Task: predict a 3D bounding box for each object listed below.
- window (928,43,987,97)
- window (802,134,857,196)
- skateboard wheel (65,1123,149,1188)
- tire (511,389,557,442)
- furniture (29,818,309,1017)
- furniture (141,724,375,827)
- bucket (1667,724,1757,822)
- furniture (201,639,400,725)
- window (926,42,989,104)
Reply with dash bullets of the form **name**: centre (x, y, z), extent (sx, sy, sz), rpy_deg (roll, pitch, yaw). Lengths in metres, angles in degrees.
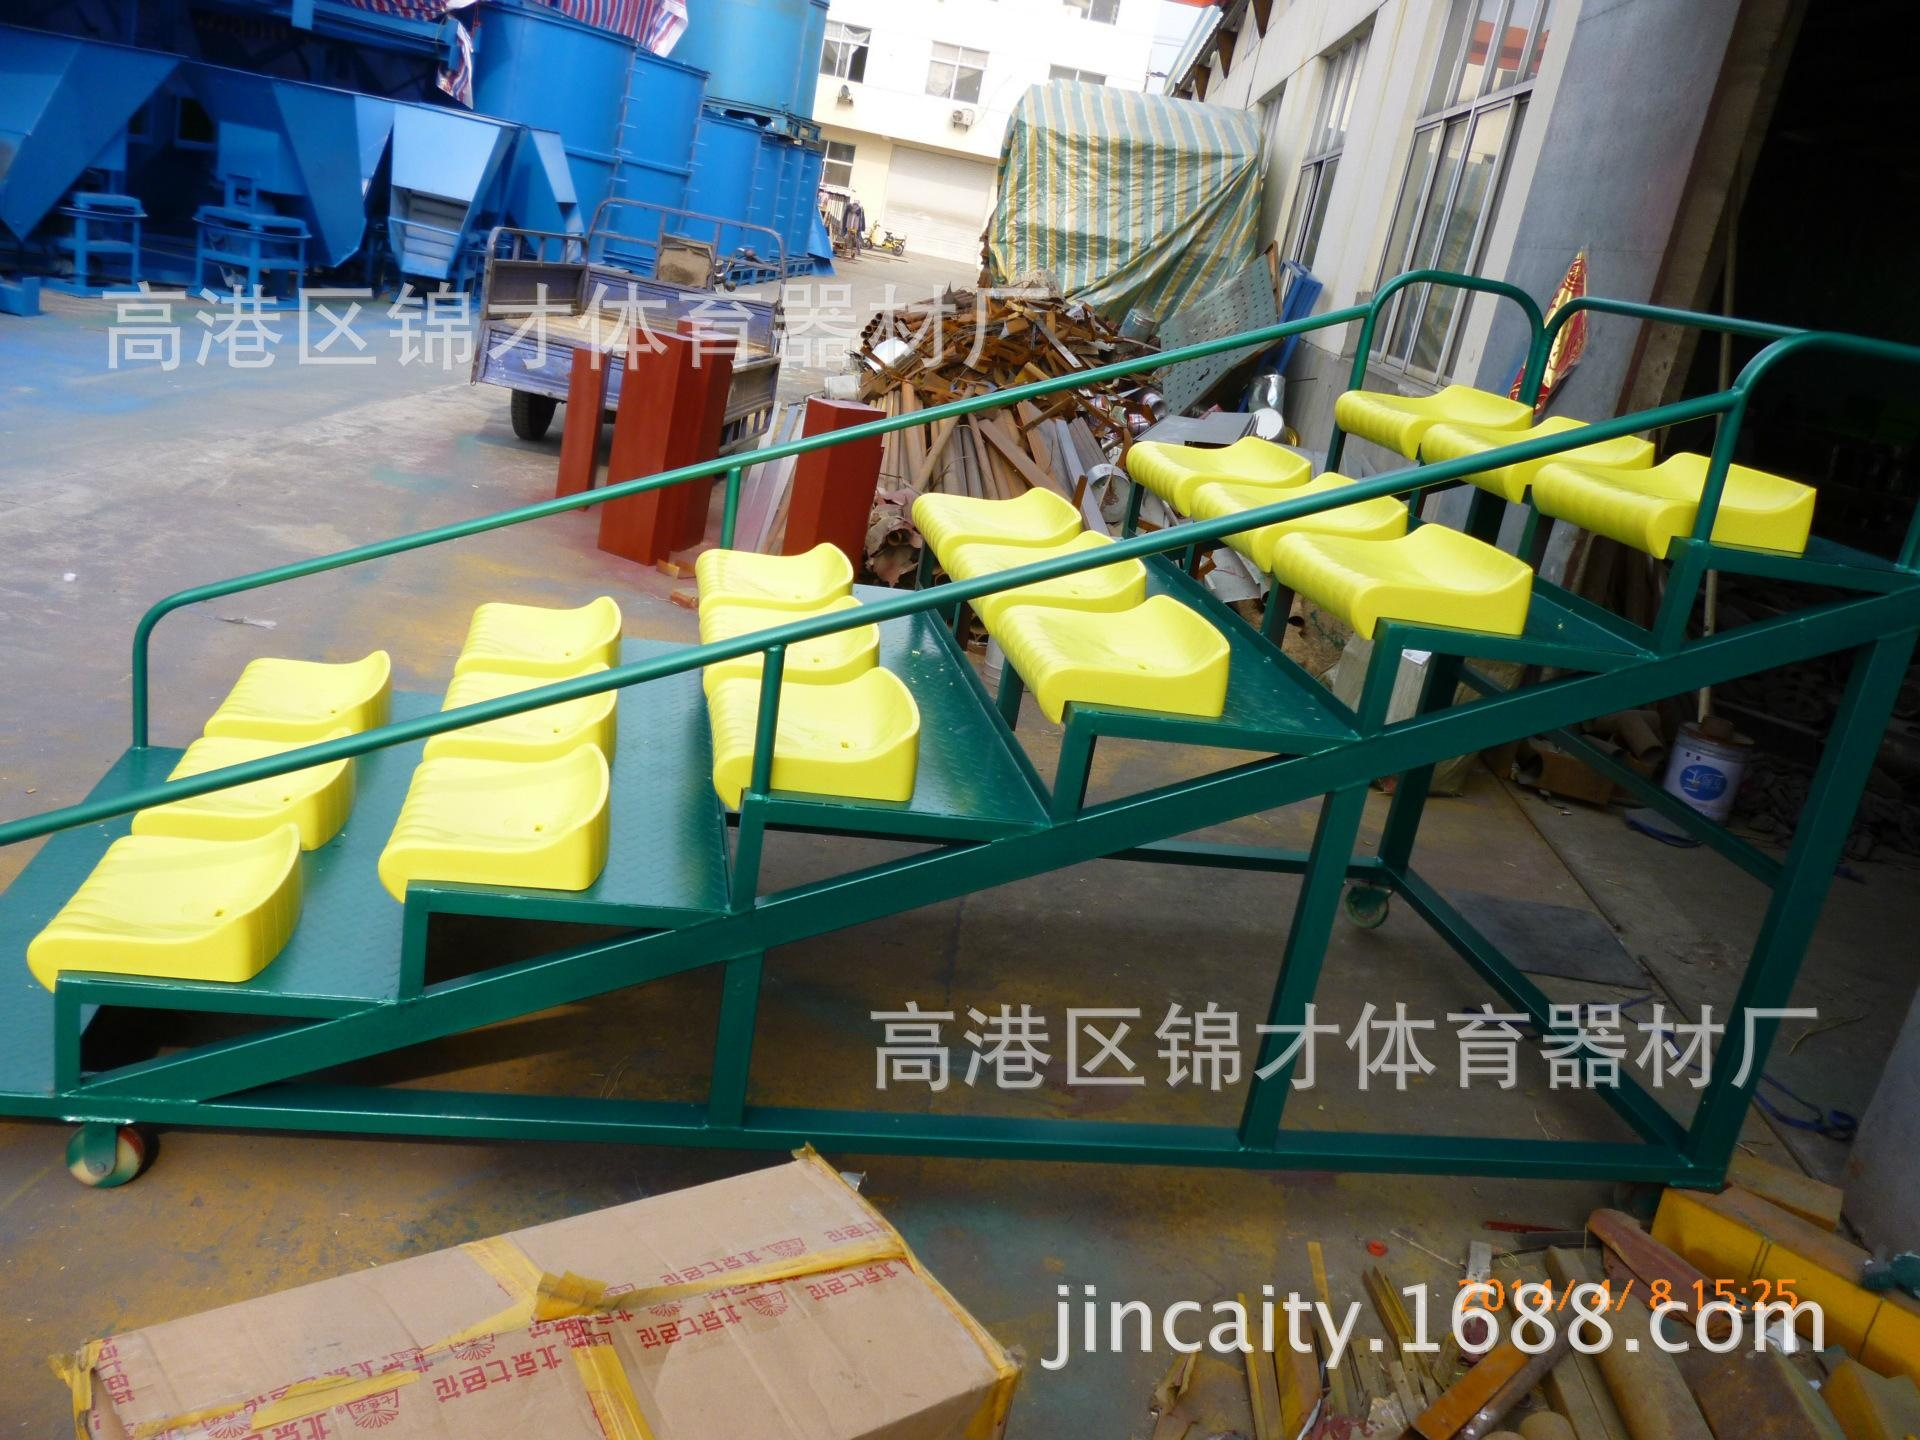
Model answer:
- **window**: centre (-0.119, -23.648, 44.424), extent (1.705, 1.651, 0.144), rpy_deg (6, 12, 2)
- **window**: centre (-4.672, -21.166, 46.880), extent (1.329, 1.746, 0.564), rpy_deg (16, 14, 34)
- **skateboard wheel**: centre (-1.963, 0.996, 2.804), extent (0.173, 0.170, 0.050), rpy_deg (11, 4, -15)
- **tire**: centre (-3.249, -2.302, 9.237), extent (0.157, 0.424, 0.431), rpy_deg (9, 14, 13)
- **furniture**: centre (-1.764, 0.421, 2.726), extent (0.432, 0.191, 0.450), rpy_deg (7, 21, -9)
- **furniture**: centre (-1.831, 0.188, 3.176), extent (0.449, 0.139, 0.320), rpy_deg (6, 27, -6)
- **bucket**: centre (3.443, 0.248, 5.603), extent (0.366, 0.391, 0.359), rpy_deg (4, 17, -1)
- **furniture**: centre (-1.925, -0.088, 3.646), extent (0.419, 0.135, 0.297), rpy_deg (4, 21, -14)
- **window**: centre (-0.126, -23.573, 44.438), extent (1.748, 1.633, 0.148), rpy_deg (16, 11, -6)
